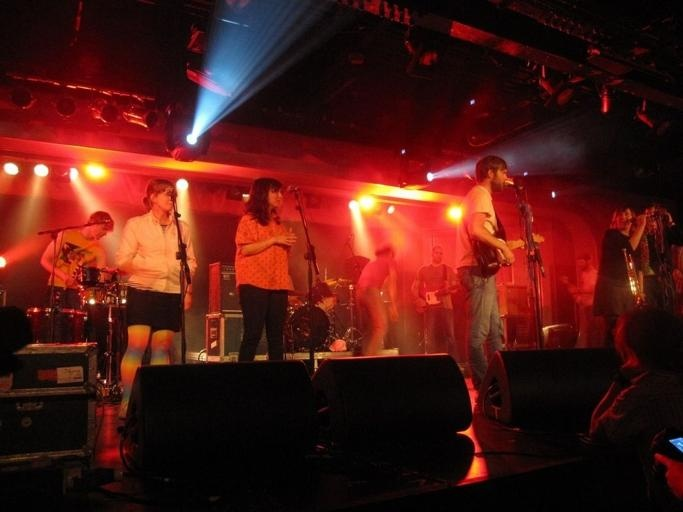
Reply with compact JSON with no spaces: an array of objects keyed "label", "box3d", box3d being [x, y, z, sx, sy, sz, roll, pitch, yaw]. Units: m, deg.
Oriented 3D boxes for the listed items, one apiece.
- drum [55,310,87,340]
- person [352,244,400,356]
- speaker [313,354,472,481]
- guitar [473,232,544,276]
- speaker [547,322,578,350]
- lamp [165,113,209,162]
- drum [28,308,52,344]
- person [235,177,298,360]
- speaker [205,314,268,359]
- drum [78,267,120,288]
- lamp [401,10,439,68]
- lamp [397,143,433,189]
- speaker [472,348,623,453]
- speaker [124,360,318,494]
[{"label":"drum","box3d":[-3.070,0.789,6.384,0.125,0.369,0.516,-3,-12,9]},{"label":"person","box3d":[0.563,0.759,9.081,0.632,1.663,1.520,-2,-12,4]},{"label":"speaker","box3d":[0.318,0.977,3.633,1.046,0.683,0.835,-2,-12,7]},{"label":"guitar","box3d":[1.382,-0.012,5.214,0.324,0.375,0.233,-2,-12,4]},{"label":"speaker","box3d":[3.939,1.408,10.138,0.521,0.421,1.711,-6,-13,22]},{"label":"lamp","box3d":[-1.991,-1.511,7.102,0.379,0.513,0.581,-11,-15,39]},{"label":"drum","box3d":[-3.340,0.751,6.195,0.277,0.385,0.210,-12,-16,43]},{"label":"person","box3d":[-0.688,0.059,4.903,0.528,1.662,0.532,-2,-12,8]},{"label":"speaker","box3d":[-1.407,1.173,8.001,0.907,0.902,0.679,7,-17,-25]},{"label":"drum","box3d":[-2.890,0.246,6.664,0.221,0.159,0.368,-5,-10,11]},{"label":"lamp","box3d":[0.774,-2.176,5.699,0.353,0.470,0.111,-9,25,-5]},{"label":"lamp","box3d":[1.068,-1.313,8.463,0.608,0.684,0.367,-1,-2,36]},{"label":"speaker","box3d":[1.474,1.004,4.130,0.854,0.582,0.630,1,-18,-11]},{"label":"speaker","box3d":[-0.665,0.955,3.270,1.022,0.678,0.318,0,-12,-4]}]
